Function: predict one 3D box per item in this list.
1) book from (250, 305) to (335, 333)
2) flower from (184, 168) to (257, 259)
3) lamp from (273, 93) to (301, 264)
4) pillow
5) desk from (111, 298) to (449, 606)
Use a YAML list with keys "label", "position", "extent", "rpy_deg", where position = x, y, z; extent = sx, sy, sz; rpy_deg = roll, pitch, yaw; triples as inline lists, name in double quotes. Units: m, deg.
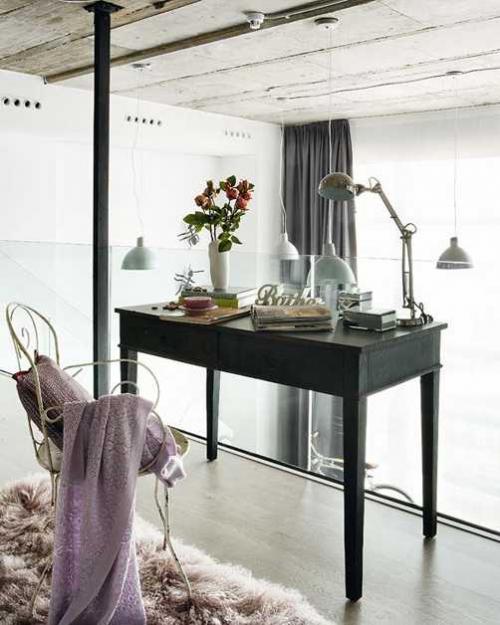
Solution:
- label: "book"
  position: [0.133, 0.018, 1.812]
  extent: [0.247, 0.084, 0.091]
  rpy_deg: [2, 5, 7]
- label: "flower"
  position: [-0.143, -0.407, 2.339]
  extent: [0.271, 0.311, 0.184]
  rpy_deg: [-3, 23, 2]
- label: "lamp"
  position: [0.255, -0.868, 4.257]
  extent: [0.196, 1.189, 0.221]
  rpy_deg: [-5, -28, 13]
- label: "pillow"
  position: [-0.584, 0.190, 1.564]
  extent: [0.091, 0.283, 0.255]
  rpy_deg: [-26, 0, 9]
- label: "desk"
  position: [0.042, 0.363, 2.128]
  extent: [1.030, 0.758, 0.547]
  rpy_deg: [6, 11, 35]
